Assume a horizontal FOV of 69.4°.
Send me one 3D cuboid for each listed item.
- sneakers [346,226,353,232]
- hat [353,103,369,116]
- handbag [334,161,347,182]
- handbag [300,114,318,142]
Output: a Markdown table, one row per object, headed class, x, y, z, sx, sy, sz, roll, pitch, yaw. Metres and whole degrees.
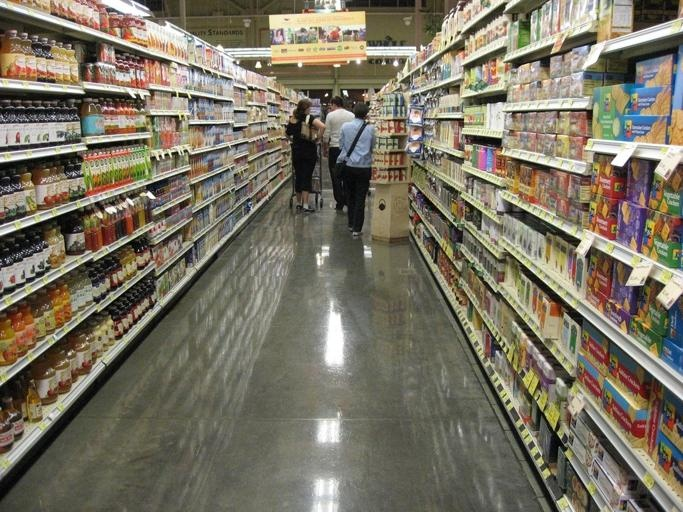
| class | x | y | z | sx | sy | sz | roll | pitch | yaw |
| --- | --- | --- | --- | --- | --- | --- | --- | --- | --- |
| sneakers | 0.168 | -0.522 | 9.349 | 0.074 | 0.132 | 0.084 | 0 | 2 | -7 |
| hat | 0.328 | -2.452 | 8.204 | 0.180 | 0.268 | 0.260 | 3 | 18 | -2 |
| handbag | -0.006 | -1.437 | 8.356 | 0.112 | 0.326 | 0.209 | 9 | 2 | -8 |
| handbag | -0.678 | -2.647 | 10.264 | 0.419 | 0.675 | 0.185 | 5 | 21 | 6 |
